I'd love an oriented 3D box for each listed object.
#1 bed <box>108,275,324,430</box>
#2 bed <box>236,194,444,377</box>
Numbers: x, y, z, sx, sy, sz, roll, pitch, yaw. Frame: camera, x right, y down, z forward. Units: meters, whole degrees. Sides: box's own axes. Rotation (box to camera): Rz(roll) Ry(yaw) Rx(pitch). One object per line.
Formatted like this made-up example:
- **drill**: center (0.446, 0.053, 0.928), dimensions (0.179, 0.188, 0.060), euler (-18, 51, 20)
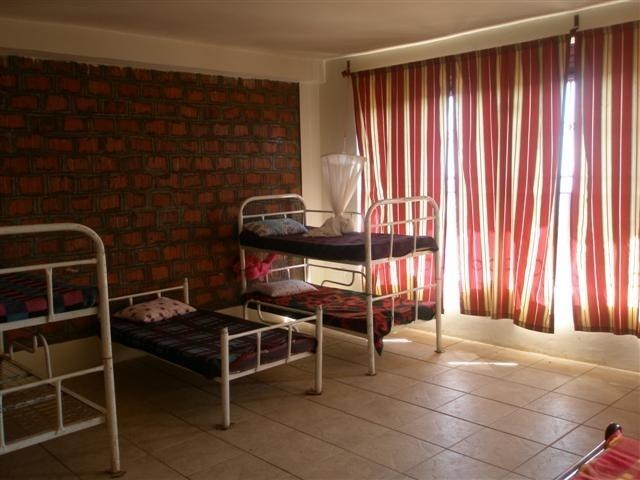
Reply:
- **bed**: center (-1.112, 1.002, 4.788), dimensions (1.988, 0.911, 1.028), euler (6, 13, 37)
- **bed**: center (0.166, 0.282, 5.983), dimensions (1.426, 1.469, 2.264), euler (-5, 7, -44)
